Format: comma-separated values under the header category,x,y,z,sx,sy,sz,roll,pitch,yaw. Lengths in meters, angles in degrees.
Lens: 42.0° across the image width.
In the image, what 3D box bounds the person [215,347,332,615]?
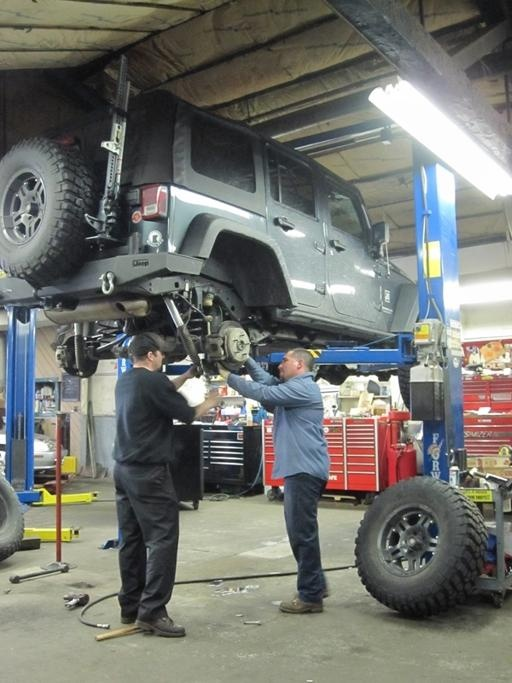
category,x,y,z,sx,sy,sz,roll,pitch,yaw
person,0.161,0.724,3.528,0.388,1.382,0.477,-5,-6,31

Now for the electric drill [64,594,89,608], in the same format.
category,x,y,z,sx,sy,sz,roll,pitch,yaw
electric drill,-0.990,1.435,3.696,0.134,0.063,0.185,-1,-4,-15

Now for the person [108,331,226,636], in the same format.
category,x,y,z,sx,sy,sz,roll,pitch,yaw
person,-0.483,0.667,3.290,0.367,1.427,0.434,1,-6,-35

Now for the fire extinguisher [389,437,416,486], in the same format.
category,x,y,z,sx,sy,sz,roll,pitch,yaw
fire extinguisher,1.752,1.459,8.082,0.151,0.452,0.601,-6,-6,33

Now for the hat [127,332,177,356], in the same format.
category,x,y,z,sx,sy,sz,roll,pitch,yaw
hat,-0.520,0.032,3.463,0.236,0.109,0.140,-15,16,-16

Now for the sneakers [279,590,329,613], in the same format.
category,x,y,z,sx,sy,sz,roll,pitch,yaw
sneakers,0.249,1.355,3.477,0.214,0.091,0.087,4,-8,-2
